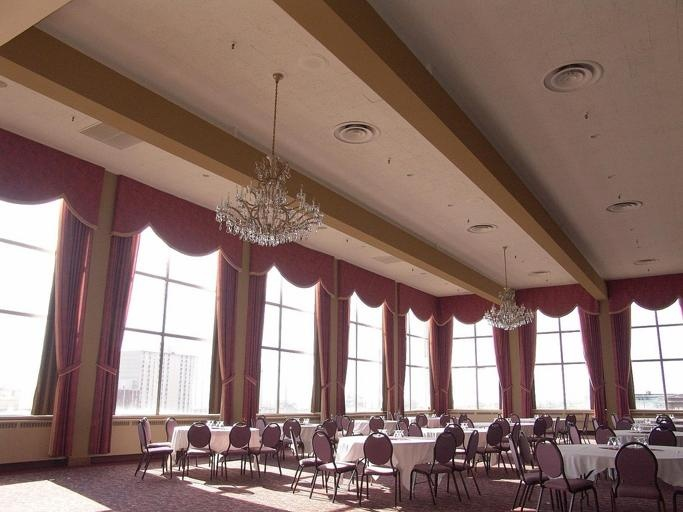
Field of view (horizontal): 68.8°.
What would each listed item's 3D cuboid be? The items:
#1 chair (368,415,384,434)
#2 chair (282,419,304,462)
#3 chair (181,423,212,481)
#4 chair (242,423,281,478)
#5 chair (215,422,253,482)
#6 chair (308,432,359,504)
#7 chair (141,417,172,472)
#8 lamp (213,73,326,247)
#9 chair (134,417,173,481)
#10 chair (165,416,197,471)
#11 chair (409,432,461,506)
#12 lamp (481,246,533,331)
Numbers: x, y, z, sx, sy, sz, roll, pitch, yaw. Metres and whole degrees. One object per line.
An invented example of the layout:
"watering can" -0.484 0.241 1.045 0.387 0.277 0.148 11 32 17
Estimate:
"chair" 0.799 3.874 11.641 0.333 0.343 0.901 0 -20 4
"chair" -1.000 3.667 10.088 0.400 0.863 0.503 1 -20 -5
"chair" -2.492 3.262 8.697 0.489 1.044 0.559 3 5 -22
"chair" -1.435 3.489 9.202 0.467 0.961 0.530 8 -10 -31
"chair" -1.890 3.410 8.904 0.450 0.945 0.530 6 -13 -26
"chair" -0.142 3.132 7.680 0.588 1.057 0.688 -4 -6 14
"chair" -3.304 3.376 8.924 0.536 1.035 0.511 2 -3 -15
"lamp" -1.015 -1.547 7.331 1.088 2.534 1.192 3 1 13
"chair" -3.331 3.372 8.888 0.523 1.020 0.519 2 -4 -26
"chair" -2.960 3.239 9.124 0.429 0.674 0.469 -6 -20 -33
"chair" 1.441 3.257 7.809 0.765 1.001 1.123 -3 -19 12
"lamp" 4.502 0.789 13.720 1.025 2.256 1.046 4 20 44
